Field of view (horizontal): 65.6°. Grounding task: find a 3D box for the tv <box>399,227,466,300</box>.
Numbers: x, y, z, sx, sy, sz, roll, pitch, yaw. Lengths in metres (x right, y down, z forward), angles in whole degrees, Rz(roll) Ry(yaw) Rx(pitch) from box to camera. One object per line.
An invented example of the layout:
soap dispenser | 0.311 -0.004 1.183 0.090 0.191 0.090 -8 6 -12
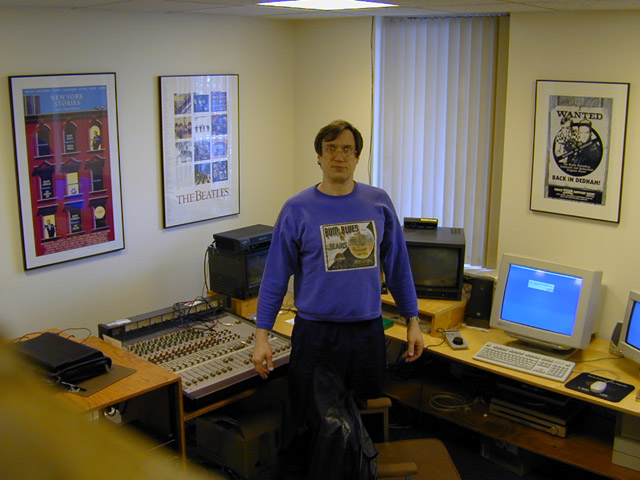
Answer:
tv | 0.845 0.186 3.754 0.446 0.506 0.487 2 19 15

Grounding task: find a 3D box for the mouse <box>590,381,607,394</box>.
mouse | 1.660 0.885 2.975 0.047 0.023 0.095 8 11 29
